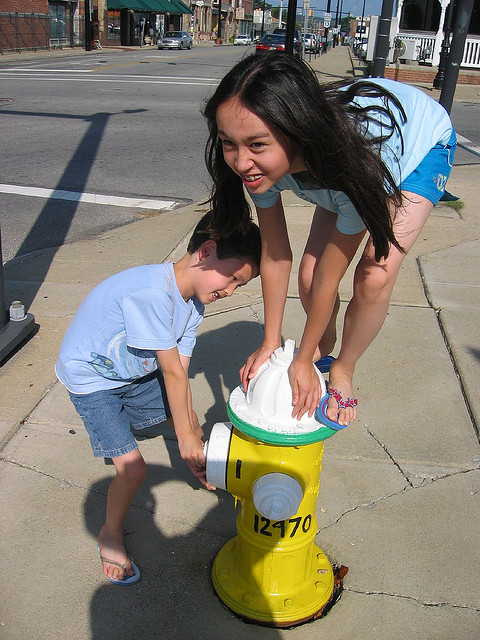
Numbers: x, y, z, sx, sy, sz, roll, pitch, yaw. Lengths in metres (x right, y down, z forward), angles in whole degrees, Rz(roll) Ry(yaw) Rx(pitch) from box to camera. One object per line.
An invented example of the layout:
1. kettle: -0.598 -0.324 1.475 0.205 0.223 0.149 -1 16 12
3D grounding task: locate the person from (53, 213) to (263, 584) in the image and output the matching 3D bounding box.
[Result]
1. person: -0.208 0.213 1.866 0.728 1.080 0.650 -3 13 -22

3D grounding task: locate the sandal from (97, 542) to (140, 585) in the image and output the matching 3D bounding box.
1. sandal: -0.386 0.767 1.841 0.108 0.072 0.180 -8 29 -22

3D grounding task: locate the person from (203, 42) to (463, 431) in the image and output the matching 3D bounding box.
1. person: 0.205 -0.269 1.703 0.612 0.942 0.767 19 31 25
